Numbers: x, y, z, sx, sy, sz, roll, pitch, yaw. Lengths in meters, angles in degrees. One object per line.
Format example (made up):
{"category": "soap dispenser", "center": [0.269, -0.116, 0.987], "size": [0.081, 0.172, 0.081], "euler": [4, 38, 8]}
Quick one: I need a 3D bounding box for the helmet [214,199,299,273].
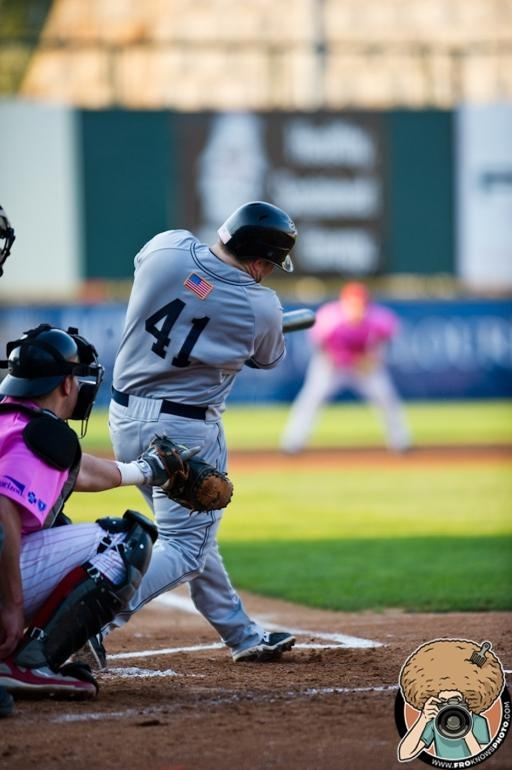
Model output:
{"category": "helmet", "center": [0.031, -0.487, 3.602], "size": [0.269, 0.186, 0.192], "euler": [24, 15, -8]}

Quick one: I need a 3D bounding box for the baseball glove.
{"category": "baseball glove", "center": [-0.189, 0.267, 3.218], "size": [0.281, 0.165, 0.129], "euler": [27, 1, -14]}

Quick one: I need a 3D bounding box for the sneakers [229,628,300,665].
{"category": "sneakers", "center": [0.032, 0.862, 3.699], "size": [0.227, 0.102, 0.083], "euler": [-21, 11, -12]}

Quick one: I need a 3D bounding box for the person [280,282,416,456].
{"category": "person", "center": [0.711, -0.072, 8.928], "size": [0.934, 1.279, 1.323], "euler": [1, 11, 1]}
